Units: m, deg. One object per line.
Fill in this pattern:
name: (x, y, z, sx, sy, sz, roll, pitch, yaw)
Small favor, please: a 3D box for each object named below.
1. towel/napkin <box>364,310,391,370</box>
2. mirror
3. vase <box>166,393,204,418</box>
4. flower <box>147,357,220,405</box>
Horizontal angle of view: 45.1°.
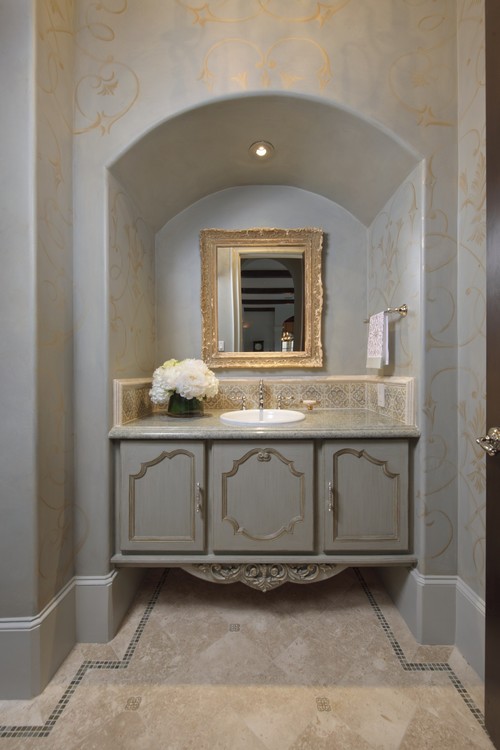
towel/napkin: (0.576, -0.157, 2.705, 0.045, 0.332, 0.285, 2, -1, -8)
mirror: (0.069, -0.401, 3.017, 0.678, 0.790, 0.065, 0, 4, -4)
vase: (-0.289, 0.156, 2.711, 0.112, 0.112, 0.117, 1, -15, -6)
flower: (-0.289, 0.026, 2.637, 0.199, 0.183, 0.241, 1, 1, 15)
